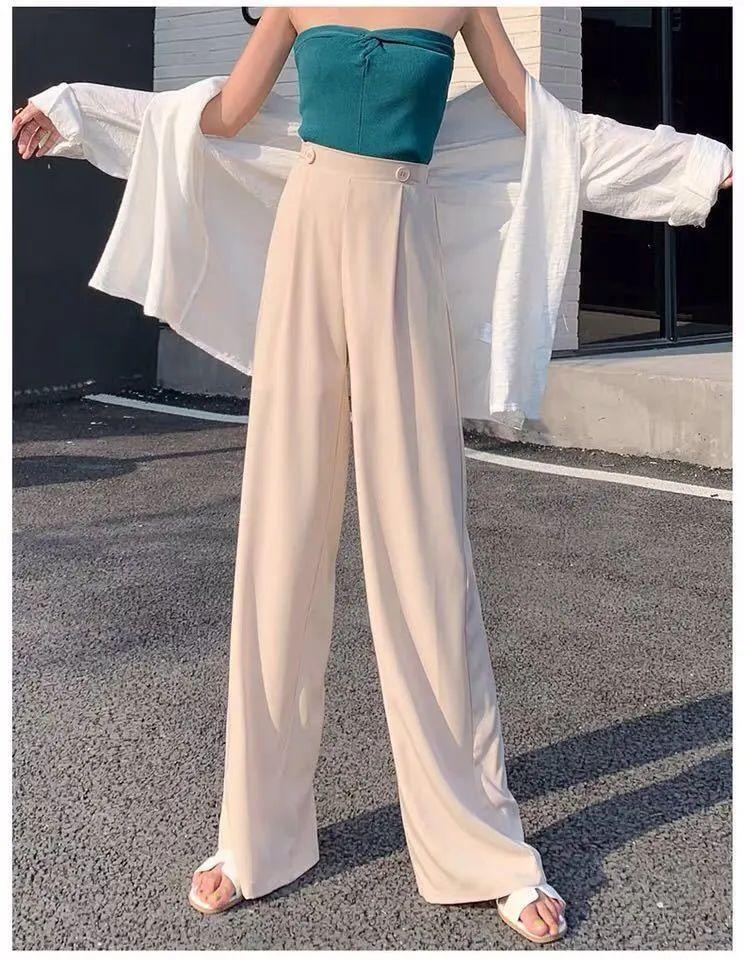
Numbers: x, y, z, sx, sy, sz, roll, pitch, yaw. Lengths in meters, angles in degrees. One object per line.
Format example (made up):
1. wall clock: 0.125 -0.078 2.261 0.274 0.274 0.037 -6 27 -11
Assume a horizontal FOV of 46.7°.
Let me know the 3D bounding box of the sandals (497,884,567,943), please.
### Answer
1. sandals: 0.316 0.852 1.698 0.133 0.071 0.105 2 14 8

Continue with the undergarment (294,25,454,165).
1. undergarment: -0.011 -0.700 1.647 0.300 0.280 0.189 4 -8 7

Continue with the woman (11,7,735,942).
1. woman: -0.001 -0.041 1.759 0.744 1.773 0.534 2 13 6
